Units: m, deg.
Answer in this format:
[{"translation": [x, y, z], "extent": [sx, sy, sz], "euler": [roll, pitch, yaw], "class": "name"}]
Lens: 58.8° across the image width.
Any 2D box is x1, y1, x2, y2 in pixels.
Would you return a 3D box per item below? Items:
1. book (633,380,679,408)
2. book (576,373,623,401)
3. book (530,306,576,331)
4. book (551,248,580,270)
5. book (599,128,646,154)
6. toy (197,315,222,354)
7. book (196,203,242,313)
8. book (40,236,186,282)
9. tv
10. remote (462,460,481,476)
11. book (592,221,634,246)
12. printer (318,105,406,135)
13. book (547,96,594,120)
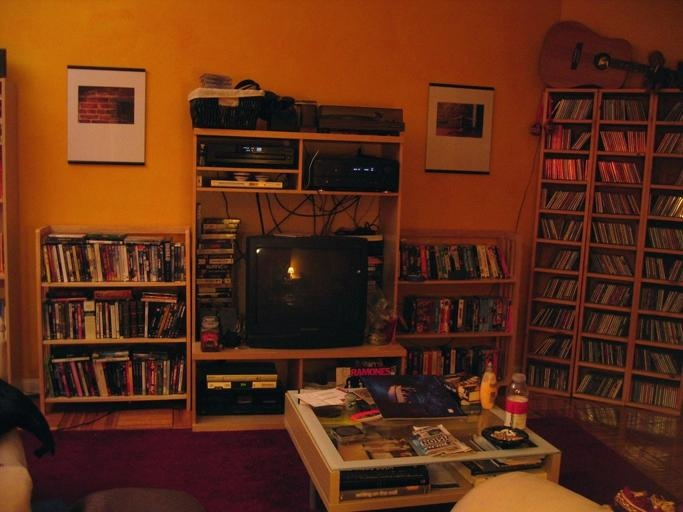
[{"translation": [2.341, 1.043, 4.546], "extent": [0.202, 0.075, 0.244], "euler": [9, -1, 13], "class": "book"}, {"translation": [2.000, 1.019, 4.685], "extent": [0.271, 0.070, 0.196], "euler": [4, 1, 7], "class": "book"}, {"translation": [1.682, 0.501, 4.781], "extent": [0.232, 0.087, 0.288], "euler": [4, -1, 11], "class": "book"}, {"translation": [1.732, 0.034, 4.709], "extent": [0.169, 0.150, 0.061], "euler": [11, 6, 34], "class": "book"}, {"translation": [2.127, -0.859, 4.582], "extent": [0.321, 0.159, 0.066], "euler": [7, 16, 18], "class": "book"}, {"translation": [-0.896, 0.516, 4.015], "extent": [0.167, 0.213, 0.146], "euler": [5, 1, -25], "class": "toy"}, {"translation": [-0.865, 0.028, 4.224], "extent": [0.474, 0.720, 0.810], "euler": [0, 4, -7], "class": "book"}, {"translation": [-1.512, 0.021, 4.051], "extent": [0.918, 0.298, 0.128], "euler": [0, 16, -8], "class": "book"}, {"translation": [-0.092, 0.268, 4.249], "extent": [1.003, 0.743, 0.556], "euler": [-1, -1, 31], "class": "tv"}, {"translation": [0.635, 1.027, 2.929], "extent": [0.054, 0.037, 0.087], "euler": [-3, 15, -18], "class": "remote"}, {"translation": [2.090, -0.166, 4.651], "extent": [0.243, 0.188, 0.052], "euler": [3, 1, 13], "class": "book"}, {"translation": [0.132, -0.929, 4.090], "extent": [0.365, 0.111, 0.319], "euler": [0, 6, -5], "class": "printer"}, {"translation": [1.779, -1.136, 4.683], "extent": [0.256, 0.220, 0.058], "euler": [4, 1, 12], "class": "book"}]
